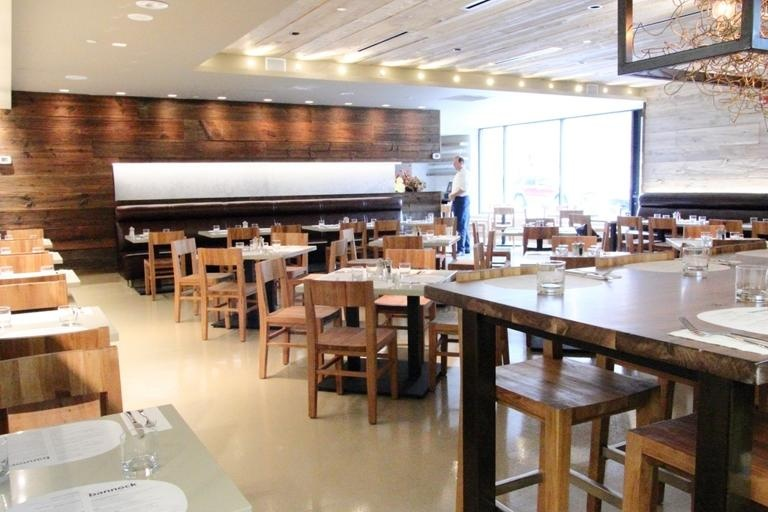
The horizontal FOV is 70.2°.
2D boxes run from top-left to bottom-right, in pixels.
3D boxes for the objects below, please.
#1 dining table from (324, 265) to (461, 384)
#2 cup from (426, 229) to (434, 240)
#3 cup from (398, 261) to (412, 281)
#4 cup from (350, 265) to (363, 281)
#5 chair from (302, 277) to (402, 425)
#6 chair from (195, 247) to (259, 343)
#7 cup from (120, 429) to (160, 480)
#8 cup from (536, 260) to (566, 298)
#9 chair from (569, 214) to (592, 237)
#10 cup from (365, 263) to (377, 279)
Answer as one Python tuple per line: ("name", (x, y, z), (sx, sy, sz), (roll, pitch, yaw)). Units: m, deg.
("dining table", (0.106, 0.563, 4.573), (1.146, 0.791, 1.019), (2, 11, 17))
("cup", (0.645, -0.291, 7.704), (0.165, 0.135, 0.276), (-2, -3, 5))
("cup", (0.172, 0.128, 4.505), (0.115, 0.108, 0.133), (1, -3, -19))
("cup", (-0.224, 0.140, 4.448), (0.111, 0.123, 0.110), (2, 6, 0))
("chair", (-0.249, 0.650, 4.236), (0.681, 1.035, 0.860), (-3, 6, 0))
("chair", (-1.826, 0.372, 6.386), (0.631, 0.991, 1.504), (-5, 6, -14))
("cup", (-0.801, 0.658, 1.808), (0.139, 0.127, 0.126), (0, -1, -1))
("cup", (0.783, 0.103, 2.495), (0.158, 0.144, 0.143), (-2, 4, -13))
("chair", (3.493, -0.555, 9.687), (0.248, 0.354, 1.233), (-1, 5, 15))
("cup", (-0.111, 0.132, 4.792), (0.134, 0.069, 0.236), (2, 7, 3))
